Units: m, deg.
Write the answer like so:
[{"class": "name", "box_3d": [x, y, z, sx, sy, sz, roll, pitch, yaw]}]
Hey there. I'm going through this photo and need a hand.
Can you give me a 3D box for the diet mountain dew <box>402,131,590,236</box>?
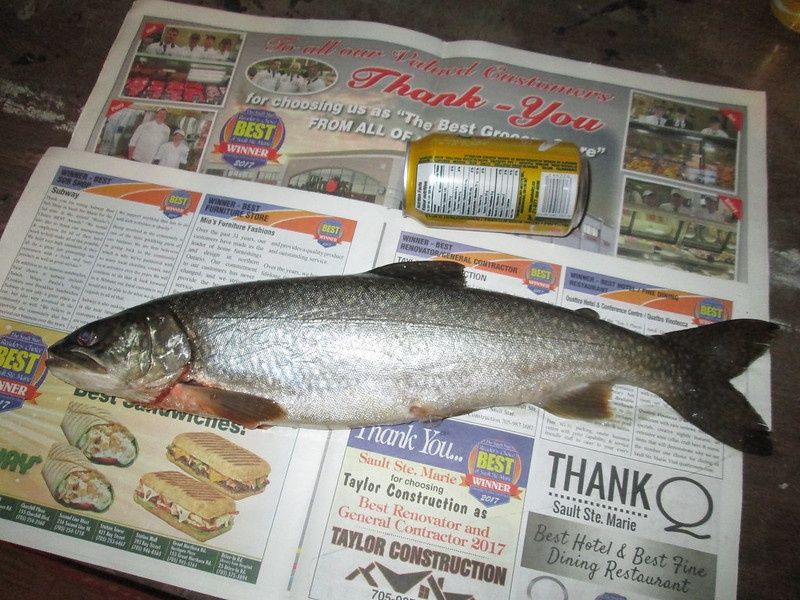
[{"class": "diet mountain dew", "box_3d": [0.302, -0.359, 2.011, 0.569, 0.170, 0.283, 4, 74, 1]}]
